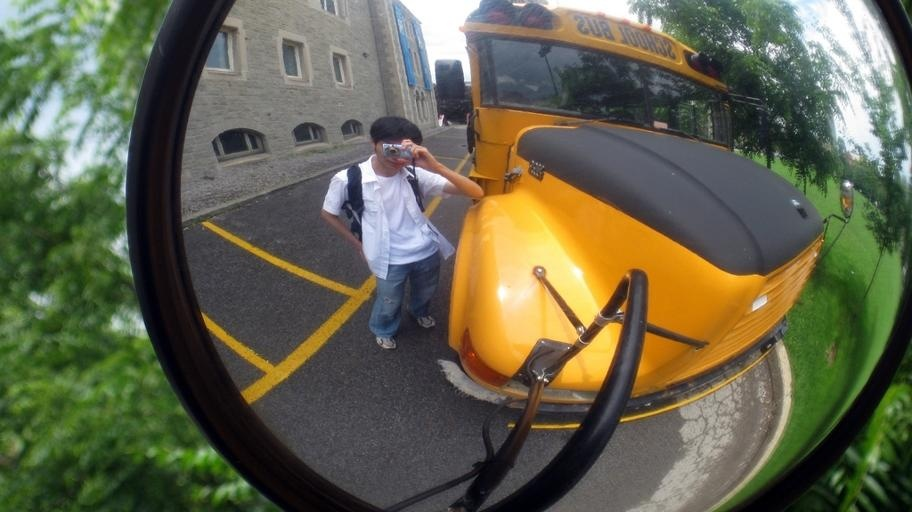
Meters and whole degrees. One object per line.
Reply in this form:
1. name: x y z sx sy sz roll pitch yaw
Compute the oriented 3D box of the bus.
1. bus: 0.705 -0.290 2.338 1.462 1.287 1.695 -2 44 -13
